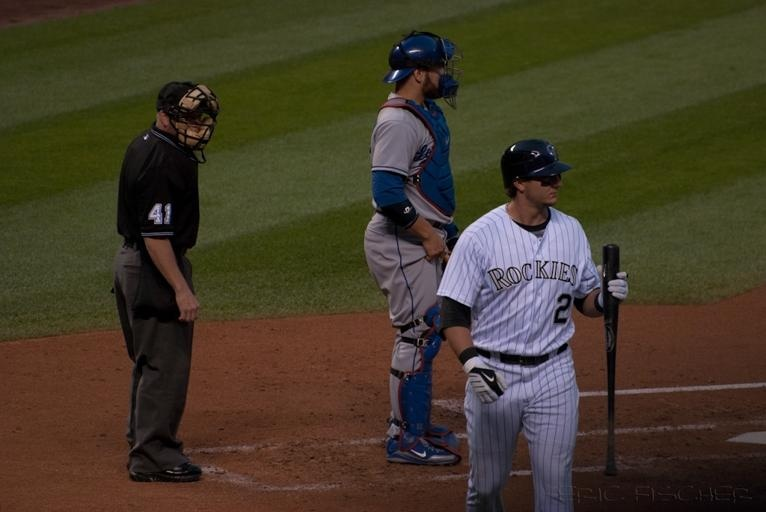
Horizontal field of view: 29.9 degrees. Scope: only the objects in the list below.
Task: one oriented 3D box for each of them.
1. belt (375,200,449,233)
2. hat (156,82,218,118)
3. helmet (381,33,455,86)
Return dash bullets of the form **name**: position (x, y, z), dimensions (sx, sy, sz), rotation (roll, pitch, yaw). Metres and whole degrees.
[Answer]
- **belt**: position (0.165, -0.468, 15.657), dimensions (0.384, 0.329, 0.833), rotation (-5, 32, -8)
- **hat**: position (-2.118, -1.699, 15.394), dimensions (0.622, 0.240, 0.187), rotation (-3, -2, 0)
- **helmet**: position (0.377, -2.177, 15.752), dimensions (0.748, 0.417, 0.181), rotation (-3, -2, 0)
